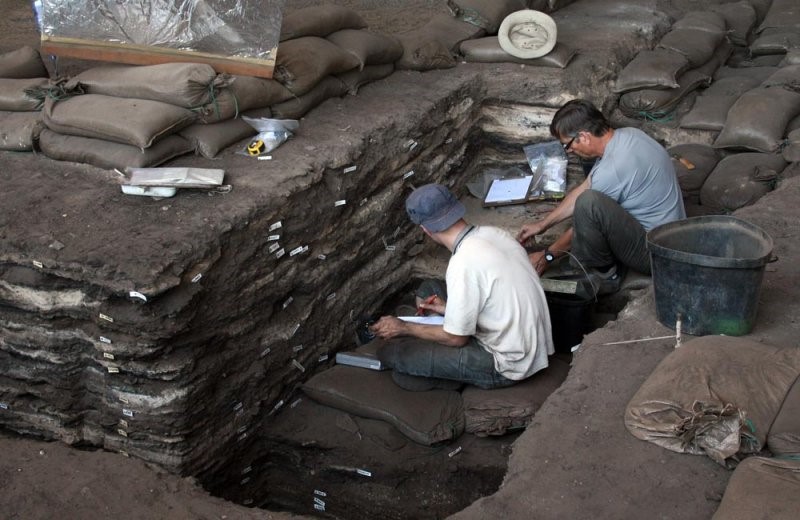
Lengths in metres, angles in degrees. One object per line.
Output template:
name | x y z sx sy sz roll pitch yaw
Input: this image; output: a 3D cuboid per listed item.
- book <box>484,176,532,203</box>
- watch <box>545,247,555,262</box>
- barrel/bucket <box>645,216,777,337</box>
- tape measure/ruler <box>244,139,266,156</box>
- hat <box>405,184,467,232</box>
book | 1.089 -0.705 6.526 0.494 0.067 0.486 0 33 18
watch | 1.226 -0.038 5.434 0.113 0.110 0.080 3 -15 -12
barrel/bucket | 2.092 0.091 4.542 1.016 0.677 0.818 8 30 24
tape measure/ruler | -1.145 -0.898 5.187 0.143 0.043 0.141 9 51 26
hat | 0.214 -0.355 4.543 0.304 0.194 0.392 -40 42 -23
